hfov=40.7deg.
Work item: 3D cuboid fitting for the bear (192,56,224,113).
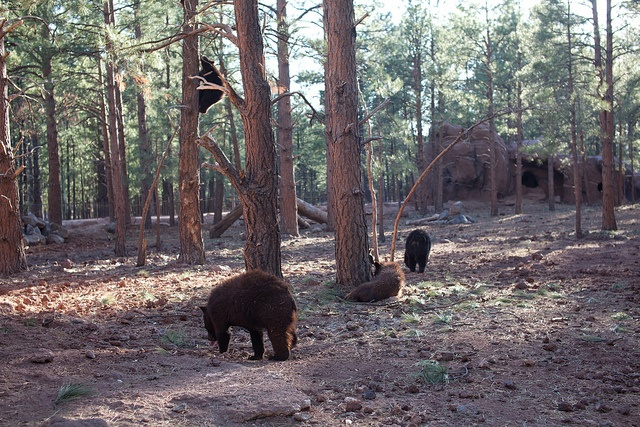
[{"bbox_3d":[-4.469,-5.418,35.317,0.843,2.921,1.087,-11,44,-21],"label":"bear"}]
